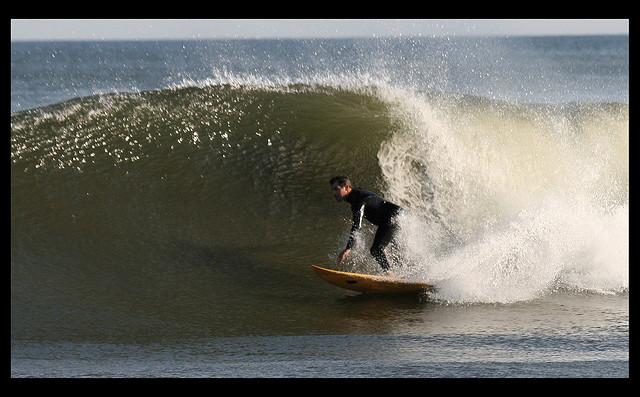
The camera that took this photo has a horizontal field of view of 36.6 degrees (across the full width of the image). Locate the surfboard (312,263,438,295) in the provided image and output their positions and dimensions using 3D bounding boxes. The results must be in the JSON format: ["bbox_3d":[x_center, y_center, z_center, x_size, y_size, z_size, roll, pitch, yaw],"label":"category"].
[{"bbox_3d":[1.210,1.669,19.723,2.775,0.470,0.278,5,31,4],"label":"surfboard"}]
